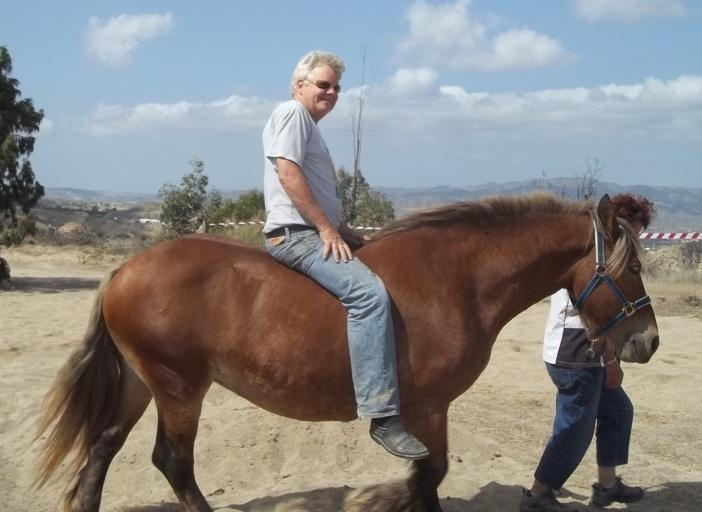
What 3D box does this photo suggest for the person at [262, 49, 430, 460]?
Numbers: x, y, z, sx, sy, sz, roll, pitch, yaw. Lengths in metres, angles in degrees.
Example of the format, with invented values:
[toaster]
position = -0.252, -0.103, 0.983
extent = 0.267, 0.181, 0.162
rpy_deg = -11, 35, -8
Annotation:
[person]
position = -0.110, -0.055, 4.912
extent = 1.245, 3.025, 0.686
rpy_deg = 2, 5, 6

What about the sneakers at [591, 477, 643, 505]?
[sneakers]
position = 2.311, 2.076, 5.808
extent = 0.465, 0.263, 0.195
rpy_deg = -2, 0, -10
